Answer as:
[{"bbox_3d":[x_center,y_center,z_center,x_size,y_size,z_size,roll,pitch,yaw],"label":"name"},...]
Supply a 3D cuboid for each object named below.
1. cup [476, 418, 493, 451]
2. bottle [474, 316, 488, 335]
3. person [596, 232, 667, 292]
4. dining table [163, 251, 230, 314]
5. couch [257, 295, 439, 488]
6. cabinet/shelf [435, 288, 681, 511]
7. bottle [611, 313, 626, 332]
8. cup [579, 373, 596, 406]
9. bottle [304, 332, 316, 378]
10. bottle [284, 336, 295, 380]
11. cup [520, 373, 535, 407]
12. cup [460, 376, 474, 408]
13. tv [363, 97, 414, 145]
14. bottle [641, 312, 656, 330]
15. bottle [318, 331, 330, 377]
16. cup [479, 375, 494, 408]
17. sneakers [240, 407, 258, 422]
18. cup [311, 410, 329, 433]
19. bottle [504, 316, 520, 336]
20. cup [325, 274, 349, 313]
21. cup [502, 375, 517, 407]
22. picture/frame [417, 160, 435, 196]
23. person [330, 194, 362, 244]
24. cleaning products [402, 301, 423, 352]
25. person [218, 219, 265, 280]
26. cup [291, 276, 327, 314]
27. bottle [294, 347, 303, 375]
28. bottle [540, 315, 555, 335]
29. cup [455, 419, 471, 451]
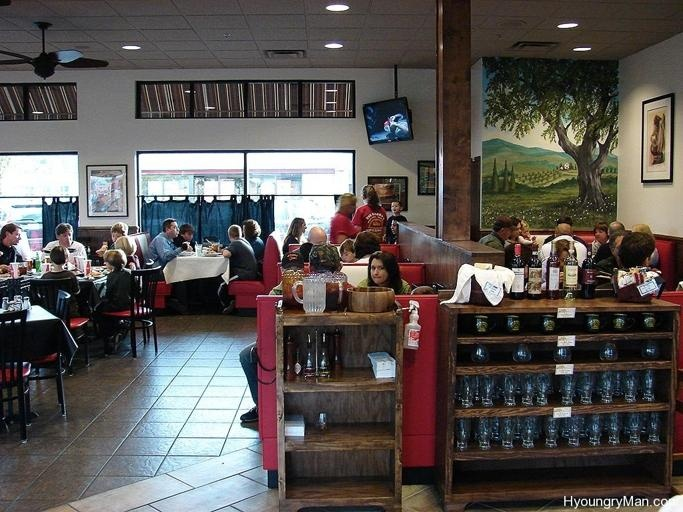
[{"bbox_3d":[0.954,1.162,3.793,0.083,0.221,0.065,-1,6,11],"label":"cup"},{"bbox_3d":[0.922,0.446,3.742,0.083,0.106,0.117,-3,-6,34],"label":"bottle"},{"bbox_3d":[2.410,-0.007,4.874,0.398,0.499,2.266,0,5,24],"label":"person"},{"bbox_3d":[-2.222,0.355,8.930,0.955,0.817,1.183,-1,4,-10],"label":"dining table"},{"bbox_3d":[0.020,0.861,3.813,1.454,1.516,0.512,-1,7,-1],"label":"couch"},{"bbox_3d":[1.436,0.938,3.801,1.642,1.355,0.521,0,-1,-1],"label":"cabinet/shelf"},{"bbox_3d":[1.853,0.440,3.801,0.133,0.114,0.086,0,-1,-2],"label":"bottle"},{"bbox_3d":[1.651,0.867,3.834,0.088,0.201,0.170,0,6,21],"label":"cup"},{"bbox_3d":[-0.207,0.644,3.758,0.080,0.253,0.197,-3,5,-3],"label":"bottle"},{"bbox_3d":[-0.329,0.652,3.730,0.071,0.262,0.210,-3,5,-5],"label":"bottle"},{"bbox_3d":[1.244,0.882,3.790,0.086,0.197,0.123,-1,6,18],"label":"cup"},{"bbox_3d":[0.842,0.886,3.775,0.103,0.198,0.091,-3,5,-7],"label":"cup"},{"bbox_3d":[0.822,-2.378,9.863,0.841,0.668,0.115,-9,11,30],"label":"tv"},{"bbox_3d":[2.050,0.431,3.798,0.069,0.114,0.039,-2,5,4],"label":"bottle"},{"bbox_3d":[-0.110,0.638,3.771,0.072,0.268,0.213,-2,5,-1],"label":"bottle"},{"bbox_3d":[0.978,0.878,3.808,0.097,0.198,0.155,-1,5,14],"label":"cup"},{"bbox_3d":[-0.797,1.394,5.007,0.230,0.082,0.082,3,-2,-17],"label":"sneakers"},{"bbox_3d":[-0.142,1.124,3.872,0.113,0.109,0.108,2,-1,0],"label":"cup"},{"bbox_3d":[1.156,0.446,3.823,0.093,0.126,0.138,0,5,18],"label":"bottle"},{"bbox_3d":[-0.031,0.229,3.674,0.205,0.207,0.219,1,-3,0],"label":"cup"},{"bbox_3d":[1.121,0.880,3.794,0.078,0.190,0.133,-1,5,15],"label":"cup"},{"bbox_3d":[1.517,-1.411,10.231,0.300,0.633,0.070,-2,6,6],"label":"picture/frame"},{"bbox_3d":[0.029,-0.509,7.634,0.406,0.677,0.776,-2,5,3],"label":"person"},{"bbox_3d":[0.479,0.474,3.816,0.106,0.354,0.279,-1,5,9],"label":"cleaning products"},{"bbox_3d":[-1.685,-0.067,8.778,0.786,1.082,0.794,0,1,45],"label":"person"},{"bbox_3d":[-0.205,0.235,3.659,0.201,0.239,0.095,1,6,31],"label":"cup"},{"bbox_3d":[-0.276,0.691,3.760,0.043,0.146,0.096,-1,5,14],"label":"bottle"},{"bbox_3d":[1.380,0.449,3.790,0.090,0.123,0.043,-1,6,13],"label":"bottle"},{"bbox_3d":[0.831,1.173,3.834,0.071,0.209,0.163,3,7,44],"label":"cup"}]
